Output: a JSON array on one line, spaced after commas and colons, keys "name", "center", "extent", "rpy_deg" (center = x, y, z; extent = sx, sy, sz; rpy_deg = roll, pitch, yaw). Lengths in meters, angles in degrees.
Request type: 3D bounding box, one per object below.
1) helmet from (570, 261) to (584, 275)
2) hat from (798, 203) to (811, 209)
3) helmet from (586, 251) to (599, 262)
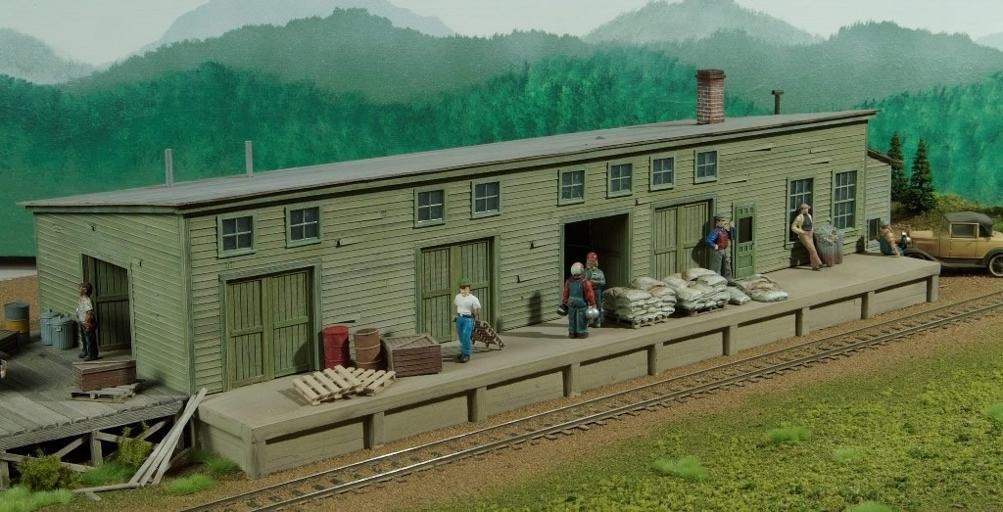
[{"name": "helmet", "center": [3.098, 0.530, 47.277], "extent": [0.490, 0.412, 0.576], "rpy_deg": [0, 2, 7]}, {"name": "hat", "center": [13.907, -2.296, 52.582], "extent": [0.277, 0.243, 0.374], "rpy_deg": [-1, -2, 34]}, {"name": "helmet", "center": [3.744, 0.007, 47.514], "extent": [0.397, 0.322, 0.471], "rpy_deg": [-1, -9, 2]}]
